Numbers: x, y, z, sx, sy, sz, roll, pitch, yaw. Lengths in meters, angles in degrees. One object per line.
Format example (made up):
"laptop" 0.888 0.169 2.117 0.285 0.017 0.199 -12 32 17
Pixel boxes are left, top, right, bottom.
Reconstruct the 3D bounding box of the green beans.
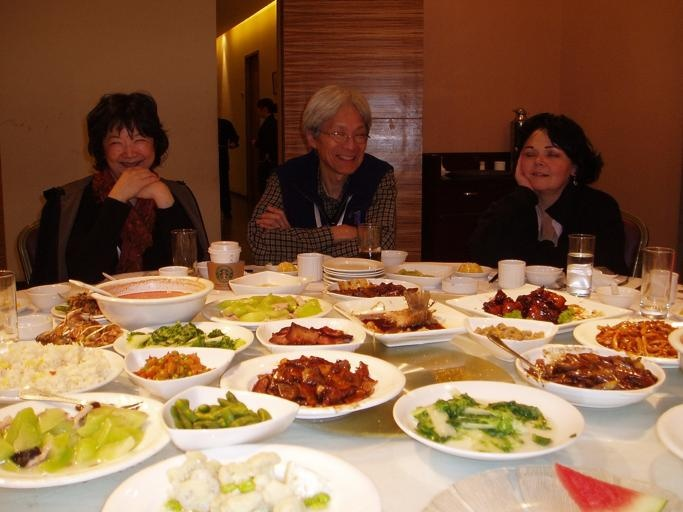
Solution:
"green beans" -0.279 0.360 1.223 0.230 0.046 0.176 0 8 -9

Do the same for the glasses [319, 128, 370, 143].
"glasses" 0.018 -0.862 3.818 0.344 0.098 0.160 0 8 -3

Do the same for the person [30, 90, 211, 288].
"person" -1.543 -0.291 3.677 0.969 1.516 1.187 14 19 36

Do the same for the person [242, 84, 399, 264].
"person" -0.154 -0.365 3.939 1.158 1.620 0.946 -1 18 -4

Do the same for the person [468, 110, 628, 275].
"person" 1.476 -0.448 3.855 0.957 1.153 0.705 4 19 19
